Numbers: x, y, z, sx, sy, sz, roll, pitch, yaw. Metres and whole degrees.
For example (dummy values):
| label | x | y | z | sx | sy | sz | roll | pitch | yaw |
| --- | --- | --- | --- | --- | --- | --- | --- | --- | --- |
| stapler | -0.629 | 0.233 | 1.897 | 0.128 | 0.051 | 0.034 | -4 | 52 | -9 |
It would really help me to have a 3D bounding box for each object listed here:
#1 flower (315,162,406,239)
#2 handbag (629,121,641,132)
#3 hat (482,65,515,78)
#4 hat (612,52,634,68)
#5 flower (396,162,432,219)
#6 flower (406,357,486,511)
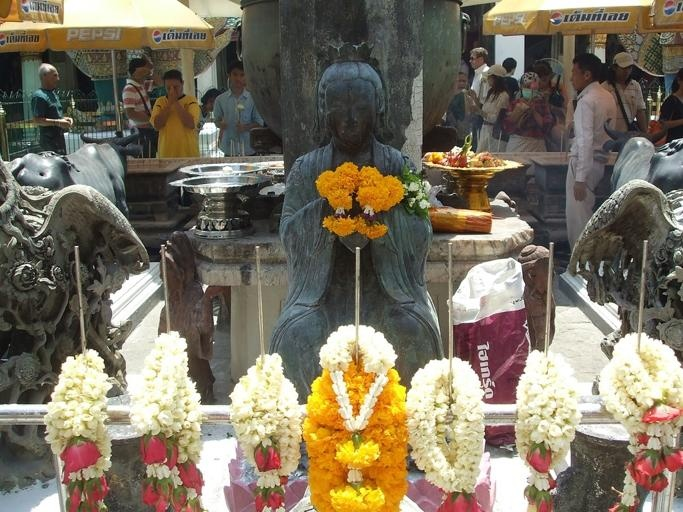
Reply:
| label | x | y | z | sx | sy | sz | roll | pitch | yaw |
| --- | --- | --- | --- | --- | --- | --- | --- | --- | --- |
| flower | 0.080 | -0.268 | 3.624 | 0.301 | 0.251 | 0.385 | -1 | 11 | -22 |
| handbag | 3.221 | -1.443 | 8.470 | 0.085 | 0.116 | 0.255 | 7 | 16 | 38 |
| hat | 2.034 | -2.375 | 9.915 | 0.241 | 0.158 | 0.195 | 12 | 9 | -11 |
| hat | 3.029 | -2.106 | 8.303 | 0.150 | 0.127 | 0.218 | -6 | 28 | -2 |
| flower | 0.363 | -0.309 | 3.788 | 0.184 | 0.113 | 0.185 | -5 | 52 | -22 |
| flower | 0.360 | 0.577 | 2.663 | 0.247 | 0.550 | 0.212 | 1 | 2 | 2 |
